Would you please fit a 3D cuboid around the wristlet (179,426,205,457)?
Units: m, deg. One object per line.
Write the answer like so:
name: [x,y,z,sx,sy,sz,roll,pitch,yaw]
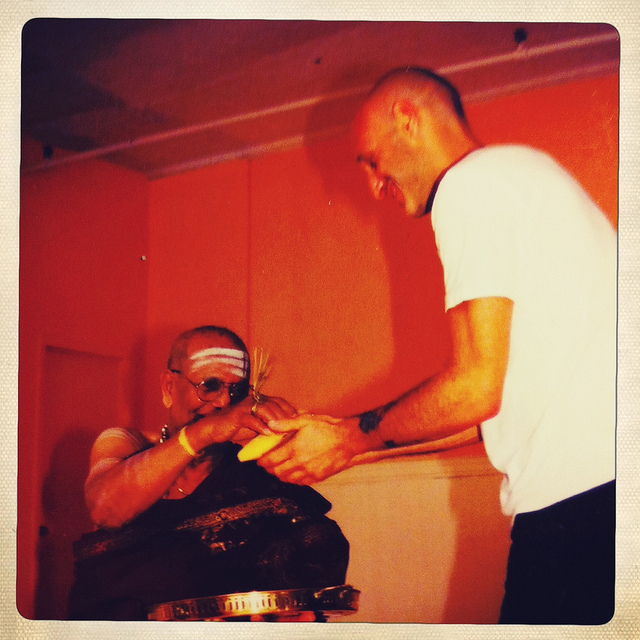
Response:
wristlet: [-0.314,0.290,2.084,0.054,0.055,0.013,-32,2,-7]
